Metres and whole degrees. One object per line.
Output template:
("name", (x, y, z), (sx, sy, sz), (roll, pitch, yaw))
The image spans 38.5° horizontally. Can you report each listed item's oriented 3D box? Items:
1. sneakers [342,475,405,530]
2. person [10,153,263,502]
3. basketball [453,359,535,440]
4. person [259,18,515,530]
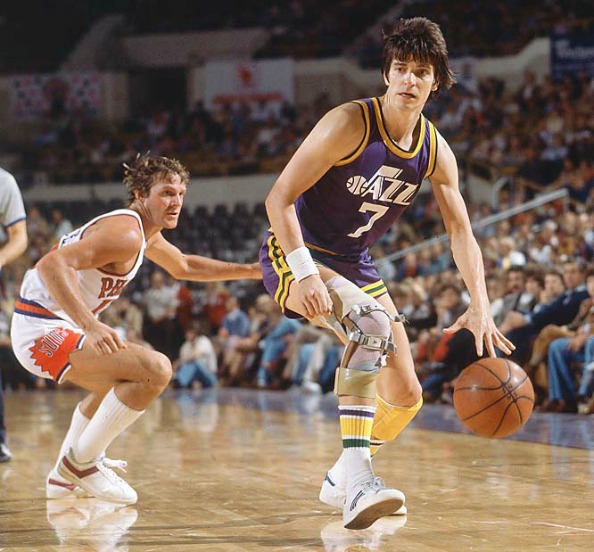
("sneakers", (0.301, 0.949, 3.565), (0.142, 0.143, 0.361), (18, -37, -38))
("person", (-0.957, 0.296, 4.371), (0.831, 1.844, 0.985), (6, 8, 24))
("basketball", (0.926, 0.579, 4.019), (0.440, 0.324, 0.366), (-6, 18, 6))
("person", (0.380, -0.037, 3.932), (0.942, 2.318, 0.903), (-4, 11, -43))
